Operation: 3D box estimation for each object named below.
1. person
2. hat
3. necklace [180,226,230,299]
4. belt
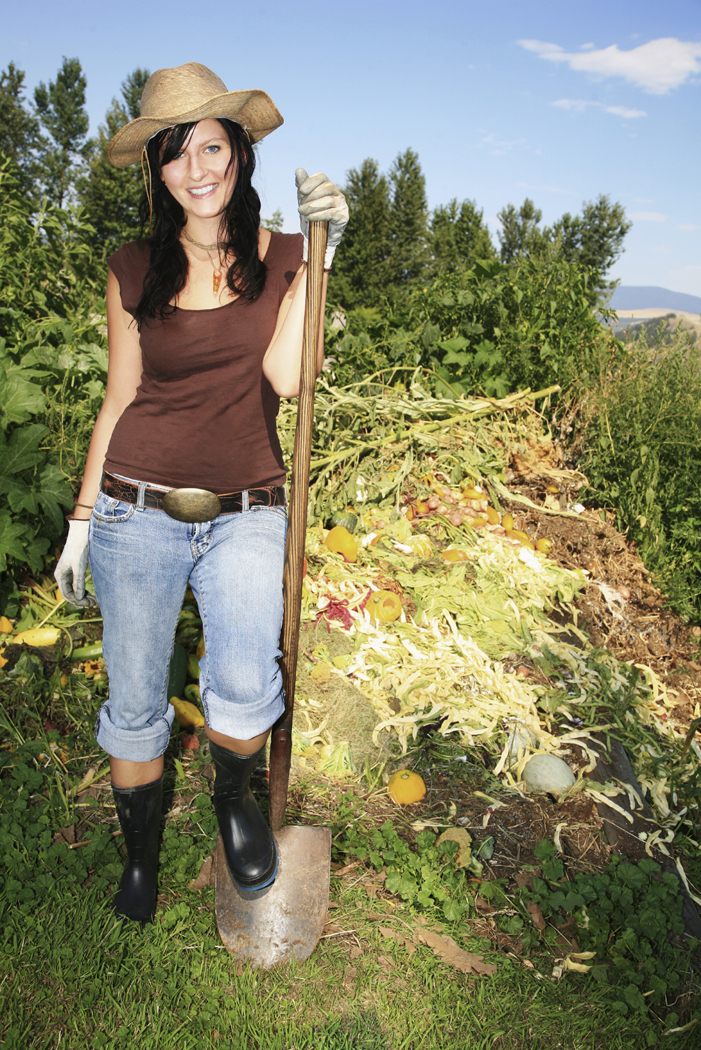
[{"bbox_3d":[-0.463,0.016,2.350,0.654,2.613,0.873,-7,21,-36],"label":"person"},{"bbox_3d":[-0.471,-1.167,2.175,0.529,0.255,0.468,4,16,-6],"label":"hat"},{"bbox_3d":[-0.419,-0.748,2.223,0.133,0.227,0.040,-7,-2,6],"label":"necklace"},{"bbox_3d":[-0.457,-0.077,2.218,0.540,0.102,0.193,2,17,-11],"label":"belt"}]
